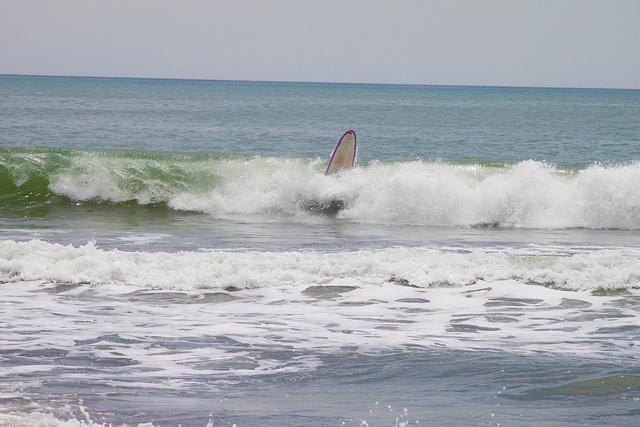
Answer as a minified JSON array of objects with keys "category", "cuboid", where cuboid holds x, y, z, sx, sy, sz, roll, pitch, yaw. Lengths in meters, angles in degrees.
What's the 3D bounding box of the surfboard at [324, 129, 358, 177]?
[{"category":"surfboard","cuboid":[0.730,-1.931,40.538,1.058,1.328,0.419,-5,17,-21]}]
